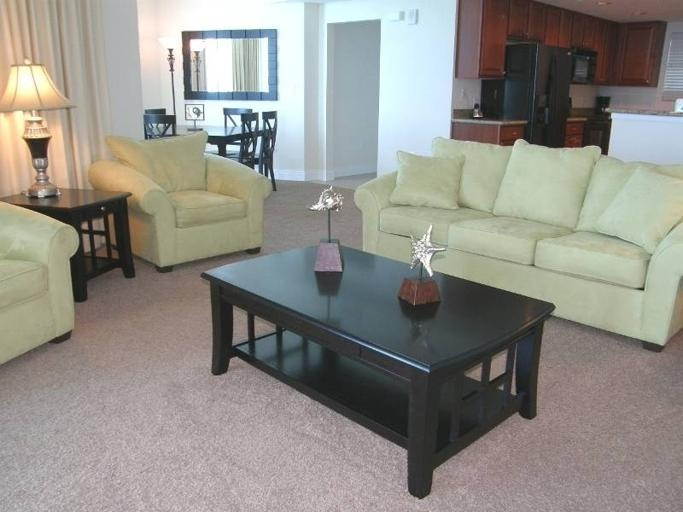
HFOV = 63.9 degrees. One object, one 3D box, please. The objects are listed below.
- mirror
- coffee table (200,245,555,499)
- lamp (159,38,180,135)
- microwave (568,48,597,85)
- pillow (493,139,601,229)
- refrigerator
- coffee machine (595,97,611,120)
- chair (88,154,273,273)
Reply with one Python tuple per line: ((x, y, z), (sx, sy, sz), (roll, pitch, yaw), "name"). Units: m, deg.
((-1.737, -2.939, 8.481), (1.585, 1.115, 0.054), (3, 12, 11), "mirror")
((0.290, 0.385, 2.547), (0.960, 0.590, 1.577), (-17, 25, -40), "coffee table")
((-2.582, -2.568, 8.459), (0.325, 1.496, 0.318), (25, 39, 18), "lamp")
((3.343, -2.667, 7.763), (0.531, 0.445, 0.278), (-6, 16, -27), "microwave")
((1.452, -0.488, 3.903), (0.192, 0.618, 0.648), (12, 8, -42), "pillow")
((2.438, -1.961, 6.789), (0.866, 1.248, 0.656), (0, 20, 2), "refrigerator")
((4.289, -2.458, 8.970), (0.242, 0.280, 0.432), (6, 21, 16), "coffee machine")
((-1.367, -0.623, 4.597), (0.994, 0.813, 1.204), (16, 21, 42), "chair")
